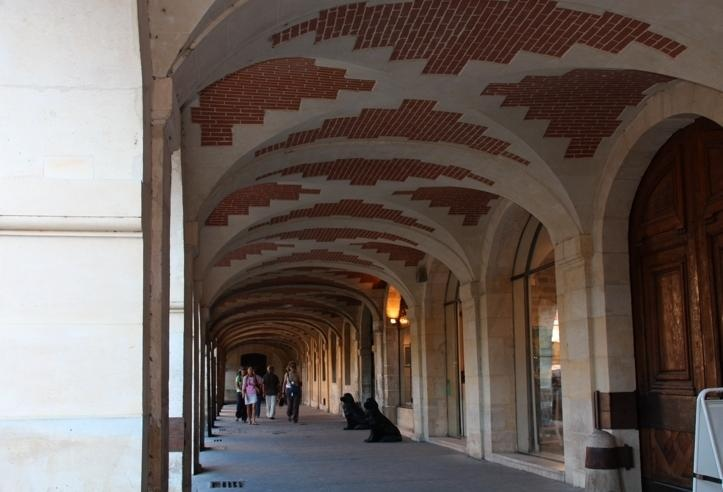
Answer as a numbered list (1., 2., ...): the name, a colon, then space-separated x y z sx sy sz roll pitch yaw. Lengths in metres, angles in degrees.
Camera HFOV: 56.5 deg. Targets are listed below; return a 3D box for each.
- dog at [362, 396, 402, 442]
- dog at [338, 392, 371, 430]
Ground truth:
1. dog: 0.470 4.074 15.662 0.879 1.074 0.650 1 -11 2
2. dog: -0.170 4.756 19.242 0.868 1.065 0.644 -1 -14 6
